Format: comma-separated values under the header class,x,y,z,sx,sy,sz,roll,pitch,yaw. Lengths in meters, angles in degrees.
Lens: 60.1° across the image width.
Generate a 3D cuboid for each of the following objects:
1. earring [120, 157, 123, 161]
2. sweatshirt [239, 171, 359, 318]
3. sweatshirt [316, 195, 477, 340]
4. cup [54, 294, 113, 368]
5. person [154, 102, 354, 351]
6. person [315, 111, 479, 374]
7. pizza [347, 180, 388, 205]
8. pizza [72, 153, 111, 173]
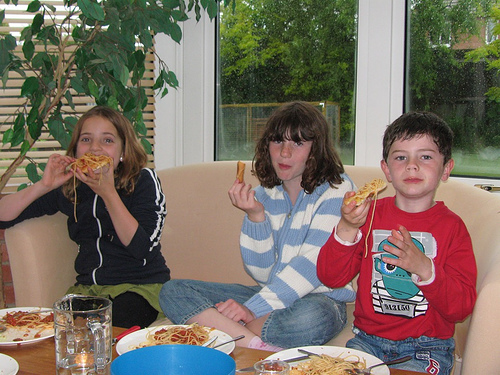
class,x,y,z,sx,sy,sz,roll,pitch,yaw
earring,-0.651,-0.144,2.189,0.012,0.012,0.012,-1,9,3
sweatshirt,0.199,0.272,2.081,0.496,0.723,0.635,-2,2,-44
sweatshirt,0.592,0.322,1.652,0.504,0.539,0.399,-6,6,-34
cup,-0.441,0.387,1.143,0.146,0.181,0.091,-2,5,13
person,-0.035,0.123,2.253,0.970,1.153,1.024,-2,-3,42
person,0.591,0.201,1.650,0.667,0.981,0.549,-2,5,8
pizza,0.445,0.013,1.632,0.175,0.040,0.064,-44,20,-26
pizza,-0.742,-0.123,2.009,0.136,0.052,0.092,-21,26,-34
